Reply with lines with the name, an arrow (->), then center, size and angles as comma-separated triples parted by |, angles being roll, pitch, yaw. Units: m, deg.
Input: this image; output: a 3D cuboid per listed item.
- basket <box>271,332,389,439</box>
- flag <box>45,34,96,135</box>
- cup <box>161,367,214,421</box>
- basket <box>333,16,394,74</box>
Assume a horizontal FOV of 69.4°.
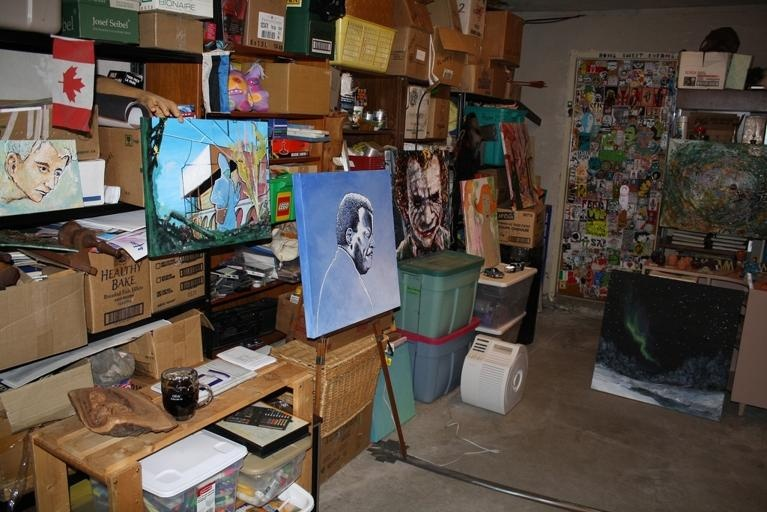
basket -> -0.295, 0.804, 3.731 | 0.647, 0.416, 0.489 | -31, -15, 39
flag -> -1.562, -0.846, 2.763 | 0.317, 0.566, 0.029 | 17, 19, 1
cup -> -0.978, 0.680, 2.812 | 0.274, 0.245, 0.179 | 4, 12, -2
basket -> -0.159, -1.526, 4.021 | 0.136, 0.239, 0.437 | 24, 27, 26
